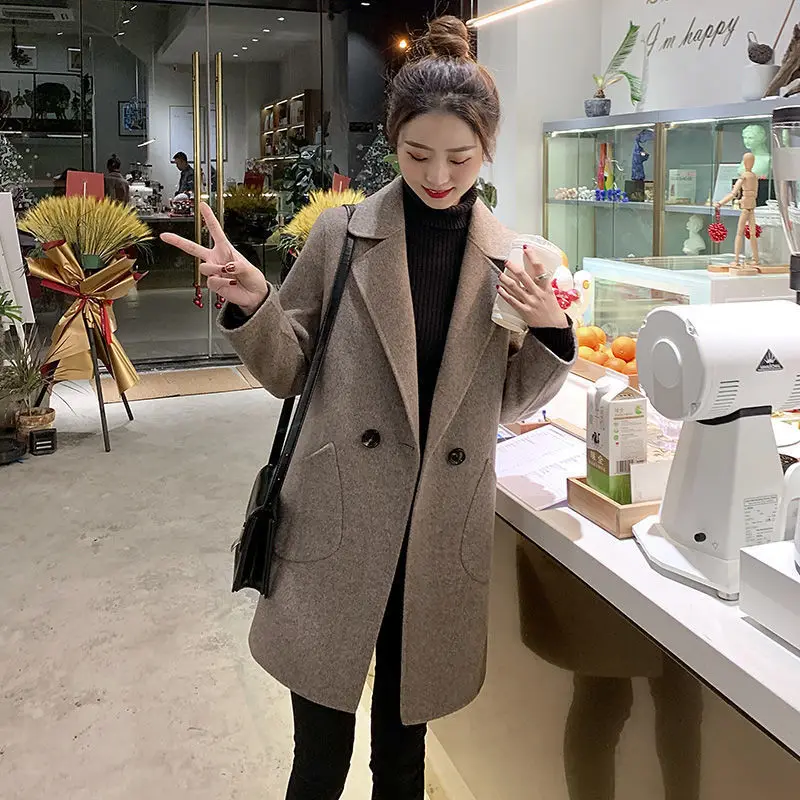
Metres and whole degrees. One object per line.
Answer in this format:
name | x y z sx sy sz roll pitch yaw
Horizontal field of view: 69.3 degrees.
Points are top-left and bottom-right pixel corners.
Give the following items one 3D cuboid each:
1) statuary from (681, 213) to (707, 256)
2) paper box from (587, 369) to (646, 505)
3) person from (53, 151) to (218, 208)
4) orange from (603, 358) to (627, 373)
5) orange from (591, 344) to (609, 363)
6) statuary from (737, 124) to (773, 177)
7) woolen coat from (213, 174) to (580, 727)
statuary | 2.060 -1.157 4.077 0.071 0.255 0.233 -4 14 -10
paper box | 0.359 0.068 0.977 0.097 0.189 0.073 7 15 34
person | -2.606 -2.191 6.013 1.585 0.743 0.521 -4 15 -16
orange | 0.613 -0.097 1.658 0.042 0.049 0.046 3 -19 -9
orange | 0.601 -0.137 1.763 0.042 0.036 0.078 5 47 17
statuary | 2.157 -1.503 3.517 0.136 0.331 0.210 -19 29 -2
woolen coat | -0.004 0.023 0.920 0.434 0.901 0.258 7 4 -7
